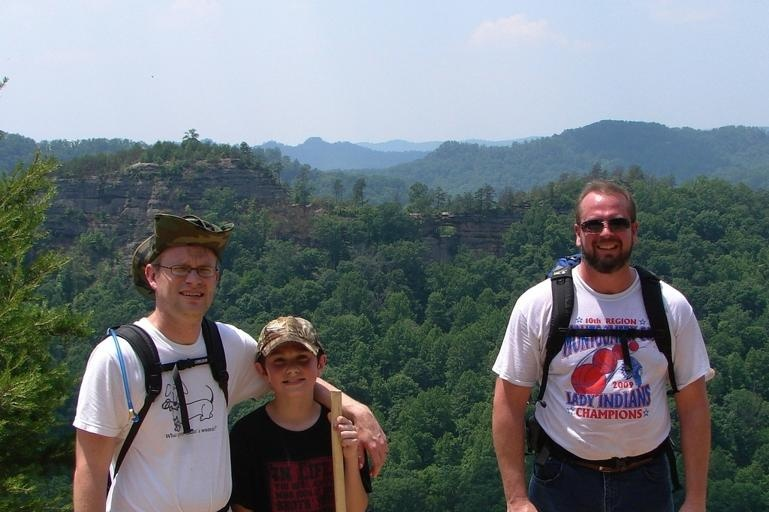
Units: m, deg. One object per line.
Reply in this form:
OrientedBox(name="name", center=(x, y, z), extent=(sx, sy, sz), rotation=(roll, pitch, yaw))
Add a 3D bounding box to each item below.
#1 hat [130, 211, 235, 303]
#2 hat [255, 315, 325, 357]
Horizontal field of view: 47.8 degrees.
OrientedBox(name="hat", center=(-1.828, -0.069, 7.567), extent=(0.710, 0.337, 0.782), rotation=(3, -36, -22))
OrientedBox(name="hat", center=(-0.824, 0.675, 7.462), extent=(0.359, 0.252, 0.469), rotation=(-1, -18, -7))
